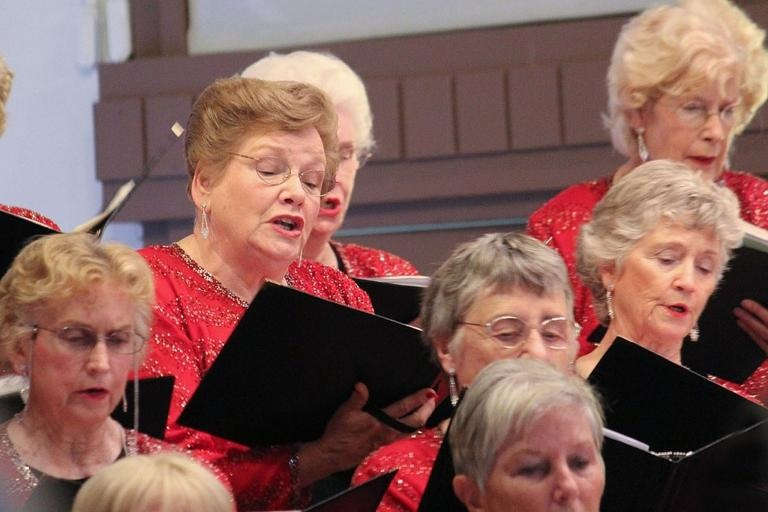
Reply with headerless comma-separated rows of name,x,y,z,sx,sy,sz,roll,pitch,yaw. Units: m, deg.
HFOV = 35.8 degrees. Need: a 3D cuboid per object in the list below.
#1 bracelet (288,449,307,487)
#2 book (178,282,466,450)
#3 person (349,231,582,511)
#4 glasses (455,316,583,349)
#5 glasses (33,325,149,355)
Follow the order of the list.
bracelet,-0.262,0.645,3.618,0.055,0.112,0.016,4,4,-7
book,-0.191,0.274,3.512,0.603,0.020,0.755,3,27,4
person,0.250,0.370,3.521,0.852,0.670,0.448,10,-18,-30
glasses,0.349,0.223,3.687,0.215,0.049,0.197,-8,15,-4
glasses,-0.856,0.239,3.393,0.283,0.079,0.035,3,4,-12
